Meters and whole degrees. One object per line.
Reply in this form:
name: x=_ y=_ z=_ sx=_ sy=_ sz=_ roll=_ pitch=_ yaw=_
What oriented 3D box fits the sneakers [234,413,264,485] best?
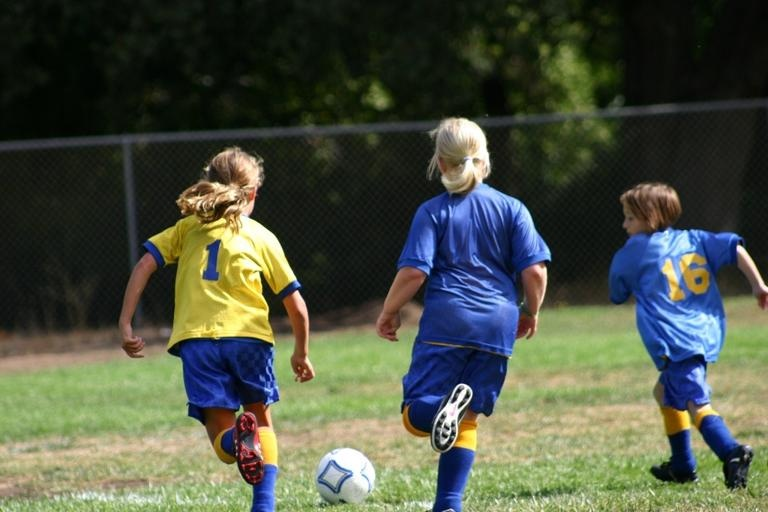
sneakers: x=-1.339 y=1.824 z=10.903 sx=0.230 sy=0.692 sz=0.272 roll=-9 pitch=0 yaw=-12

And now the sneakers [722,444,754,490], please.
sneakers: x=3.543 y=2.110 z=11.348 sx=0.183 sy=0.539 sz=0.244 roll=13 pitch=1 yaw=-21

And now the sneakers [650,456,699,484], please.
sneakers: x=2.930 y=2.207 z=11.566 sx=0.489 sy=0.261 sz=0.181 roll=8 pitch=8 yaw=39

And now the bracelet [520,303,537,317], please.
bracelet: x=1.422 y=0.513 z=11.198 sx=0.121 sy=0.035 sz=0.127 roll=33 pitch=2 yaw=25

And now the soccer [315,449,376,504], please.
soccer: x=-0.400 y=2.254 z=11.476 sx=0.498 sy=0.510 sz=0.525 roll=-33 pitch=30 yaw=31
